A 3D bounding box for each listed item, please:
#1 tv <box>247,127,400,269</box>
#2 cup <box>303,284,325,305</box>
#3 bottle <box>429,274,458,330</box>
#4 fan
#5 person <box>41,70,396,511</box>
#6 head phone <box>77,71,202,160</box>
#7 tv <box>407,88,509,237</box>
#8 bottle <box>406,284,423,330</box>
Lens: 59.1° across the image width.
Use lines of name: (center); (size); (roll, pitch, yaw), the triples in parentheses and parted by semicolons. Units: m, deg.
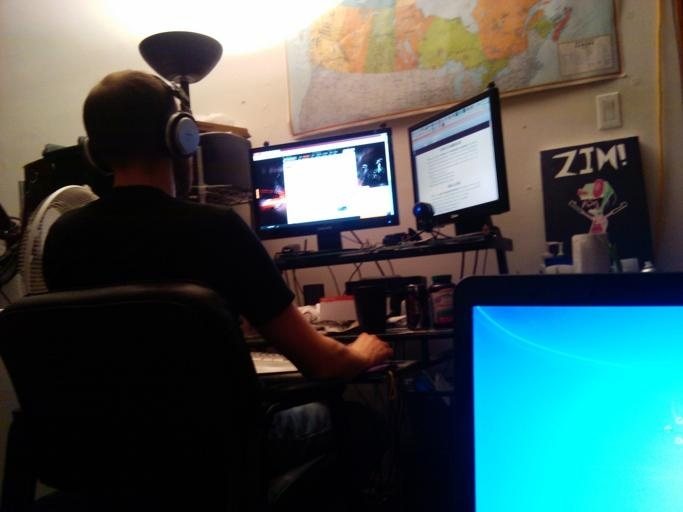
tv: (-0.050, -0.223, 2.310); (0.597, 0.430, 0.158); (-6, -8, 12)
cup: (-0.117, 0.150, 2.536); (0.079, 0.112, 0.147); (-4, 1, -7)
bottle: (0.300, 0.132, 1.802); (0.124, 0.147, 0.123); (-2, -1, 27)
fan: (-0.927, -0.049, 1.941); (0.369, 0.356, 0.096); (-2, -1, -13)
person: (-0.532, 0.067, 1.988); (1.037, 1.322, 1.002); (-4, 1, 31)
head phone: (-0.525, -0.344, 1.620); (0.247, 0.210, 0.253); (-9, 6, 1)
tv: (0.452, -0.325, 2.160); (0.148, 0.463, 0.473); (0, -6, -30)
bottle: (0.211, 0.146, 1.791); (0.061, 0.123, 0.060); (-7, 4, 1)
